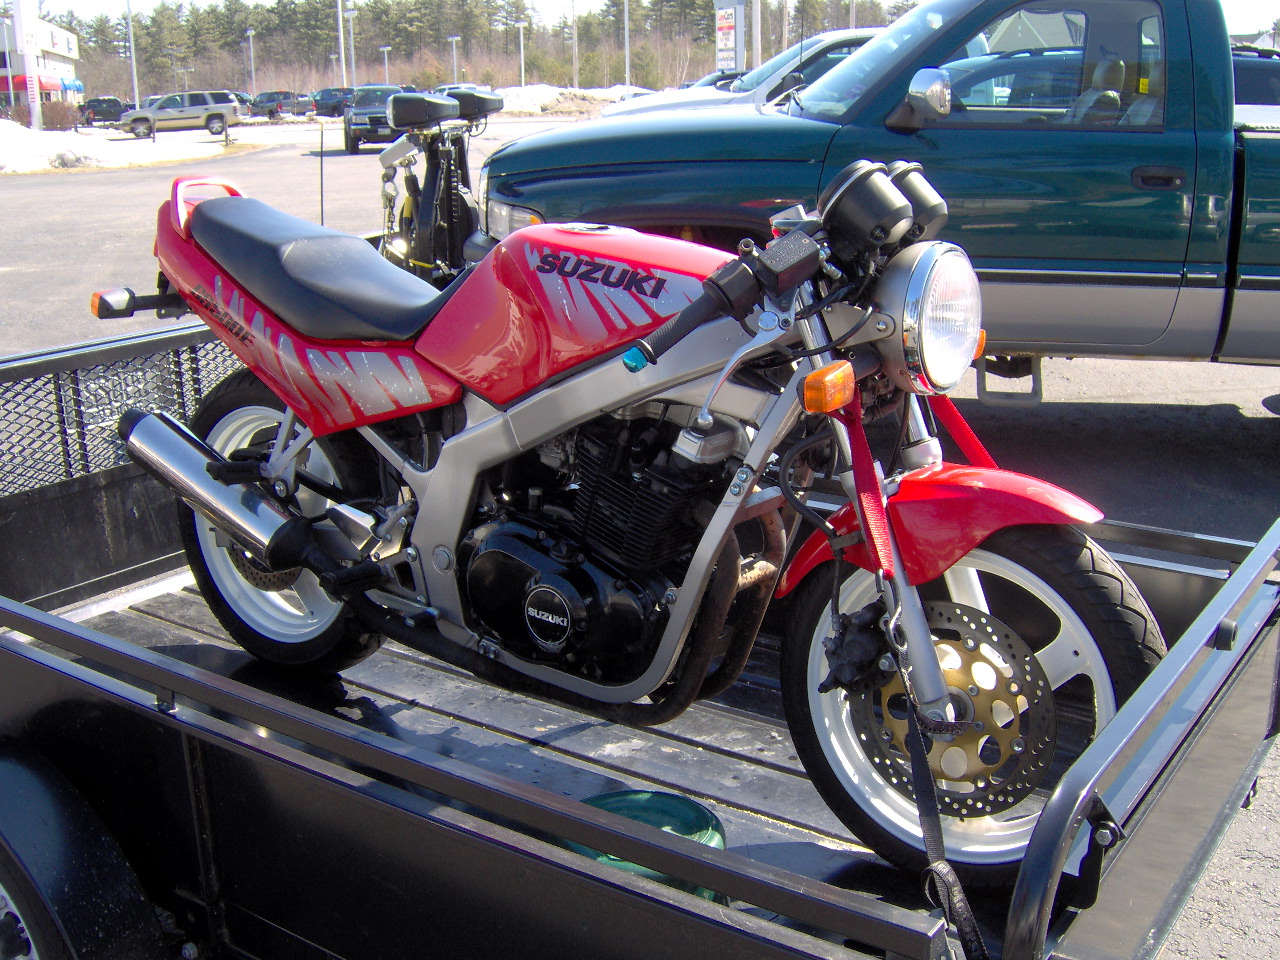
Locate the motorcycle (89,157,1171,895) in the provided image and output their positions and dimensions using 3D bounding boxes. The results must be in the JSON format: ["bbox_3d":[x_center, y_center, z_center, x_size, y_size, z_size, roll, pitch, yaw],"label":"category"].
[{"bbox_3d":[-0.032,-0.322,3.088,3.474,1.610,1.264,15,28,24],"label":"motorcycle"}]

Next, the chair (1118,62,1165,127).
[{"bbox_3d":[2.581,-1.958,5.035,0.185,0.318,0.184,9,22,21],"label":"chair"}]
